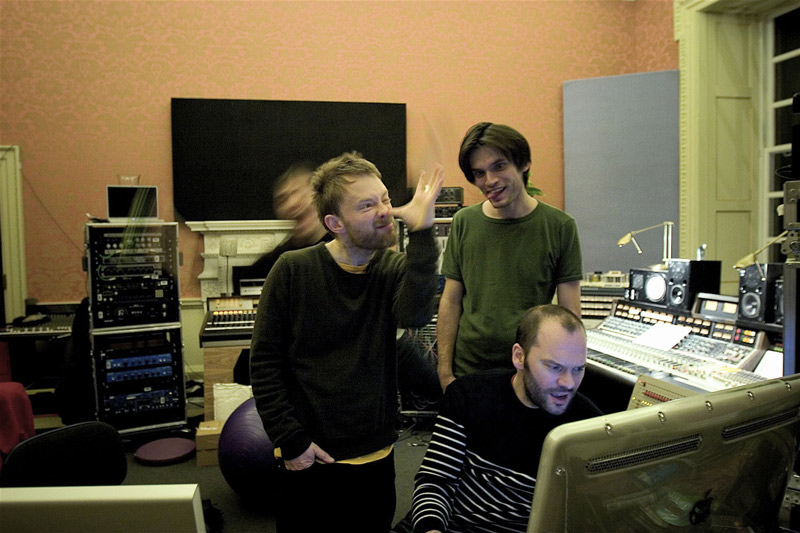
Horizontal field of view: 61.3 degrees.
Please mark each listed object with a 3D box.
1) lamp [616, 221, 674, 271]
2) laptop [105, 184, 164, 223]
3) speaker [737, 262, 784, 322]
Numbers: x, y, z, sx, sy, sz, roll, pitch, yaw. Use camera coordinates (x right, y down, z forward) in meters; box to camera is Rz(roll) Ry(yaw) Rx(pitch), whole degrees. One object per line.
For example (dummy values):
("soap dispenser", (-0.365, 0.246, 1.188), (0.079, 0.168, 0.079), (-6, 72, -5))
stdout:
("lamp", (1.889, -0.169, 5.190), (0.482, 0.336, 0.167), (-4, 11, -7))
("laptop", (-2.230, -0.548, 5.639), (0.504, 0.322, 0.268), (-1, 2, -20))
("speaker", (2.132, 0.154, 4.012), (0.238, 0.345, 0.153), (-2, 6, 33))
